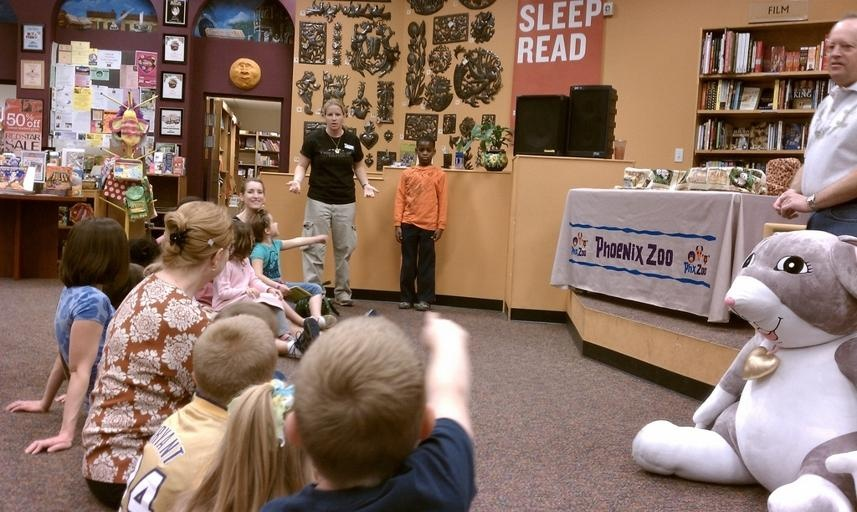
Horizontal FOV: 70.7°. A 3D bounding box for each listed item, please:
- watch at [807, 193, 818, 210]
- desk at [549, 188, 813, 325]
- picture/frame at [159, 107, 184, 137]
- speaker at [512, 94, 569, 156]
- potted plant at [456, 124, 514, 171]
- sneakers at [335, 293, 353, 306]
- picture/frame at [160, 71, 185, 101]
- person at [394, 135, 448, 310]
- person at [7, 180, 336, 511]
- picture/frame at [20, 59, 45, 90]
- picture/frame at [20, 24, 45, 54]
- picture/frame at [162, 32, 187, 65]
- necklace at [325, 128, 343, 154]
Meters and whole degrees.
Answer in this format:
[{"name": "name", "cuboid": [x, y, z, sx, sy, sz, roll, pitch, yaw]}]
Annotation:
[{"name": "watch", "cuboid": [2.010, -0.286, 3.179, 0.043, 0.078, 0.075, -3, -18, 20]}, {"name": "desk", "cuboid": [1.674, -0.060, 4.363, 0.959, 0.705, 1.348, -11, 16, -37]}, {"name": "picture/frame", "cuboid": [-4.170, -2.203, 9.802, 0.408, 0.535, 0.036, 2, 7, -8]}, {"name": "speaker", "cuboid": [1.167, -1.343, 6.215, 0.600, 0.645, 0.211, 5, 4, 32]}, {"name": "potted plant", "cuboid": [0.770, -1.247, 6.911, 0.757, 0.539, 0.744, -2, 7, -25]}, {"name": "sneakers", "cuboid": [-0.900, 0.468, 6.435, 0.087, 0.100, 0.219, -3, 2, -32]}, {"name": "picture/frame", "cuboid": [-4.119, -2.777, 9.730, 0.397, 0.500, 0.036, 2, 10, -4]}, {"name": "person", "cuboid": [-0.092, -0.335, 6.387, 0.522, 1.770, 0.396, 0, 8, -5]}, {"name": "person", "cuboid": [-1.515, -0.020, 3.344, 0.883, 2.189, 1.472, 27, 25, 23]}, {"name": "picture/frame", "cuboid": [-6.186, -2.870, 9.434, 0.432, 0.566, 0.037, 0, 4, -7]}, {"name": "picture/frame", "cuboid": [-6.173, -3.411, 9.414, 0.418, 0.557, 0.074, 1, 5, -6]}, {"name": "picture/frame", "cuboid": [-4.079, -3.361, 9.676, 0.449, 0.589, 0.045, 2, 6, -7]}, {"name": "necklace", "cuboid": [-0.982, -1.222, 6.361, 0.179, 0.266, 0.062, -3, 10, -4]}]
